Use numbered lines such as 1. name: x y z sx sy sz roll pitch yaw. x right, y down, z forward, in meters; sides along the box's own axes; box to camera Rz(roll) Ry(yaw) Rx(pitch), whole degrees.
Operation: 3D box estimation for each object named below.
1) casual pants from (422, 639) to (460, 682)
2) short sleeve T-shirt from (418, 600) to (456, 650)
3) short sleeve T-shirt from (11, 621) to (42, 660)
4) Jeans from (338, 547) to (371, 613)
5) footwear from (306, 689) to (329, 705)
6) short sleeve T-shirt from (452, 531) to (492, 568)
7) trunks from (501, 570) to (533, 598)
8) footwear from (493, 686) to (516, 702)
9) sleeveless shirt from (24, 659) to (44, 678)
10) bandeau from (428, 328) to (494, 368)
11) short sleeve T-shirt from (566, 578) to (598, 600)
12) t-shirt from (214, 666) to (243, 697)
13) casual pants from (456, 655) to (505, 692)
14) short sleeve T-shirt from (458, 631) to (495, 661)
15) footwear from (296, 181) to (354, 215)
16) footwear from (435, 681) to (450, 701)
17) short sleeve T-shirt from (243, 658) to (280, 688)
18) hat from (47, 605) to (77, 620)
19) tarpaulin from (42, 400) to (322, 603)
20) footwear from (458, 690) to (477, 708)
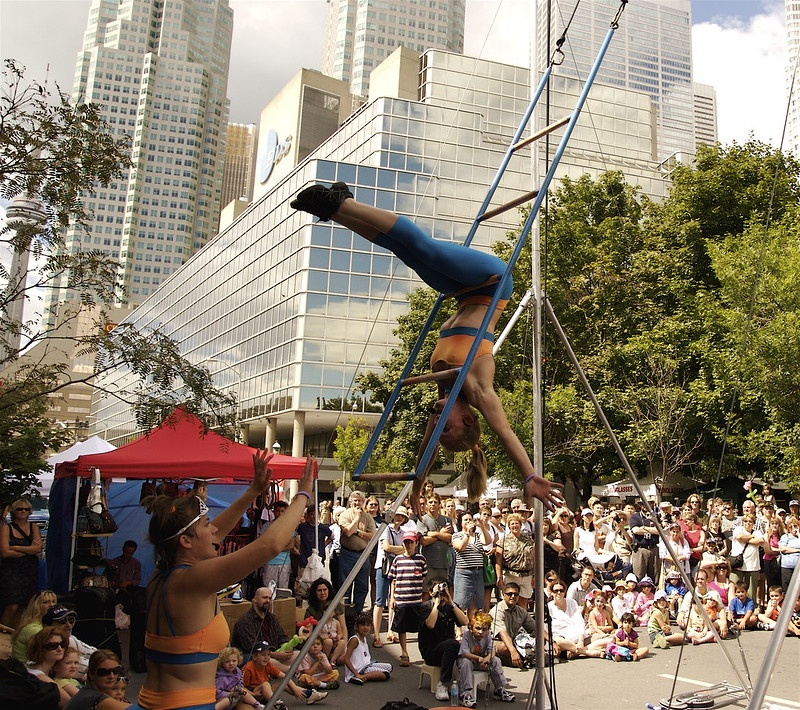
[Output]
1. casual pants: 0.466 3.619 11.631 0.486 0.485 0.201 1 -5 27
2. short sleeve T-shirt: 0.328 3.330 12.028 0.361 0.554 0.436 -8 -3 23
3. short sleeve T-shirt: -3.871 2.968 10.141 0.196 0.292 0.346 21 -30 -38
4. Jeans: -0.640 3.341 14.371 0.470 1.067 0.328 2 7 2
5. footwear: -0.946 3.961 11.319 0.302 0.116 0.102 -2 12 0
6. short sleeve T-shirt: 0.994 2.719 13.603 0.571 0.604 0.335 9 -51 -8
7. trunks: 1.652 3.206 13.744 0.557 0.468 0.309 5 -8 -26
8. footwear: 1.245 3.994 11.493 0.101 0.104 0.244 6 -17 -34
9. sleeveless shirt: -3.630 3.102 9.696 0.176 0.090 0.431 5 -5 -22
10. bandeau: 0.472 -0.071 8.324 0.418 0.323 0.433 32 -27 -22
11. short sleeve T-shirt: 2.735 3.495 14.577 0.446 0.217 0.113 -8 -22 -25
12. t-shirt: -1.875 3.578 10.753 0.294 0.266 0.425 4 -4 -10
13. casual pants: 0.961 3.731 11.482 0.468 0.349 0.553 12 -23 -22
14. short sleeve T-shirt: 0.873 3.473 11.736 0.523 0.433 0.299 6 -22 -15
15. footwear: -0.712 -1.244 7.968 0.635 0.179 0.275 -4 -13 26
16. footwear: 0.511 3.901 11.360 0.147 0.165 0.220 3 -4 -3
17. short sleeve T-shirt: -1.616 3.630 11.243 0.329 0.290 0.556 2 -4 8
18. hat: -3.612 2.723 10.346 0.235 0.078 0.150 -3 -11 -14
19. tarpaulin: -3.200 1.984 14.784 3.257 2.103 3.035 -6 -12 18
20. footwear: 0.834 3.931 11.215 0.244 0.167 0.256 4 -5 -18
